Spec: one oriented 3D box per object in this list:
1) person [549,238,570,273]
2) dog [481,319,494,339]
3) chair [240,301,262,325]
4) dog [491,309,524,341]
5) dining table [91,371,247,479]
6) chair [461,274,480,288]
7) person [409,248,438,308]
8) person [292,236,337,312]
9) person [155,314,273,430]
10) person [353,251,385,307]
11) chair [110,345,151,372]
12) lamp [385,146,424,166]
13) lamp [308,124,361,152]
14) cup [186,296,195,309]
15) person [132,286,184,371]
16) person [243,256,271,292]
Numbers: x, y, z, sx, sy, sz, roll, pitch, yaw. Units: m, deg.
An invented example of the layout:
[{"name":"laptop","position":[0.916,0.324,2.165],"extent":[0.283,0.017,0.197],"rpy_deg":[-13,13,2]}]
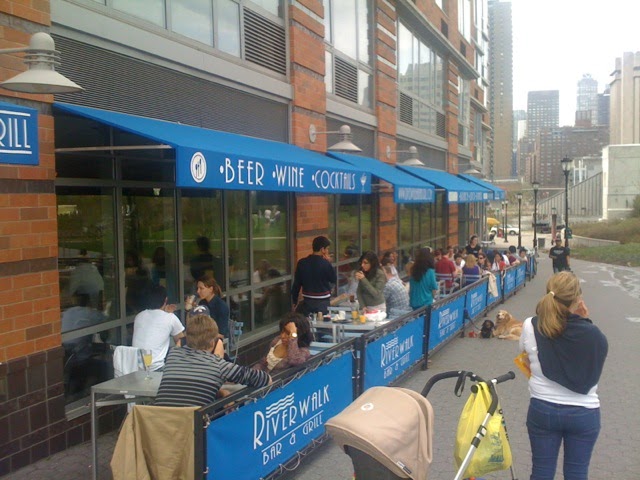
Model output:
[{"name":"person","position":[8.189,0.530,19.758],"extent":[0.584,1.172,1.045],"rpy_deg":[-3,4,13]},{"name":"dog","position":[3.797,2.014,13.121],"extent":[0.404,0.385,0.246],"rpy_deg":[-6,4,-26]},{"name":"chair","position":[-1.379,1.426,11.379],"extent":[0.261,0.488,0.506],"rpy_deg":[-2,-2,23]},{"name":"dog","position":[4.438,2.013,13.365],"extent":[0.406,0.544,1.234],"rpy_deg":[-6,-13,36]},{"name":"dining table","position":[-1.962,2.255,6.989],"extent":[1.214,1.303,1.363],"rpy_deg":[0,-7,8]},{"name":"chair","position":[4.083,1.071,15.759],"extent":[0.677,0.288,0.241],"rpy_deg":[-6,4,-28]},{"name":"person","position":[2.059,0.785,11.686],"extent":[0.542,1.197,0.407],"rpy_deg":[-3,4,7]},{"name":"person","position":[-0.116,0.705,11.208],"extent":[0.819,1.519,0.471],"rpy_deg":[-4,4,0]},{"name":"person","position":[-1.180,1.226,6.002],"extent":[1.067,0.849,0.576],"rpy_deg":[-6,4,-30]},{"name":"person","position":[0.921,0.744,10.502],"extent":[0.537,1.008,0.611],"rpy_deg":[-3,4,2]},{"name":"chair","position":[-2.371,1.514,7.174],"extent":[0.400,0.415,0.396],"rpy_deg":[2,3,23]},{"name":"lamp","position":[2.580,-2.666,17.663],"extent":[1.219,0.695,0.766],"rpy_deg":[0,0,30]},{"name":"lamp","position":[0.381,-2.170,12.600],"extent":[1.047,0.598,0.681],"rpy_deg":[0,1,31]},{"name":"cup","position":[-1.964,0.944,8.796],"extent":[0.129,0.241,0.139],"rpy_deg":[7,40,-6]},{"name":"person","position":[-2.163,1.239,7.899],"extent":[0.547,1.170,0.742],"rpy_deg":[10,9,25]},{"name":"person","position":[-1.203,0.633,11.675],"extent":[0.359,0.558,0.947],"rpy_deg":[6,-22,8]}]
